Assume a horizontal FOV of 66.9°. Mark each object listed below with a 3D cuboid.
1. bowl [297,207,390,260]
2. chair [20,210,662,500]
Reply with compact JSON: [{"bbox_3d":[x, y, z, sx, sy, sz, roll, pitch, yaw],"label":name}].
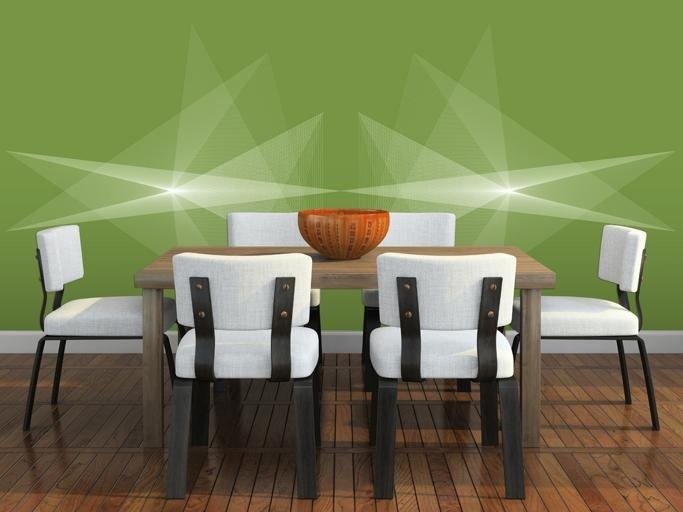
[{"bbox_3d":[0.005,-0.110,2.712,0.447,0.228,0.455,0,7,0],"label":"bowl"},{"bbox_3d":[0.020,0.302,2.901,3.249,0.989,0.869,0,12,0],"label":"chair"}]
